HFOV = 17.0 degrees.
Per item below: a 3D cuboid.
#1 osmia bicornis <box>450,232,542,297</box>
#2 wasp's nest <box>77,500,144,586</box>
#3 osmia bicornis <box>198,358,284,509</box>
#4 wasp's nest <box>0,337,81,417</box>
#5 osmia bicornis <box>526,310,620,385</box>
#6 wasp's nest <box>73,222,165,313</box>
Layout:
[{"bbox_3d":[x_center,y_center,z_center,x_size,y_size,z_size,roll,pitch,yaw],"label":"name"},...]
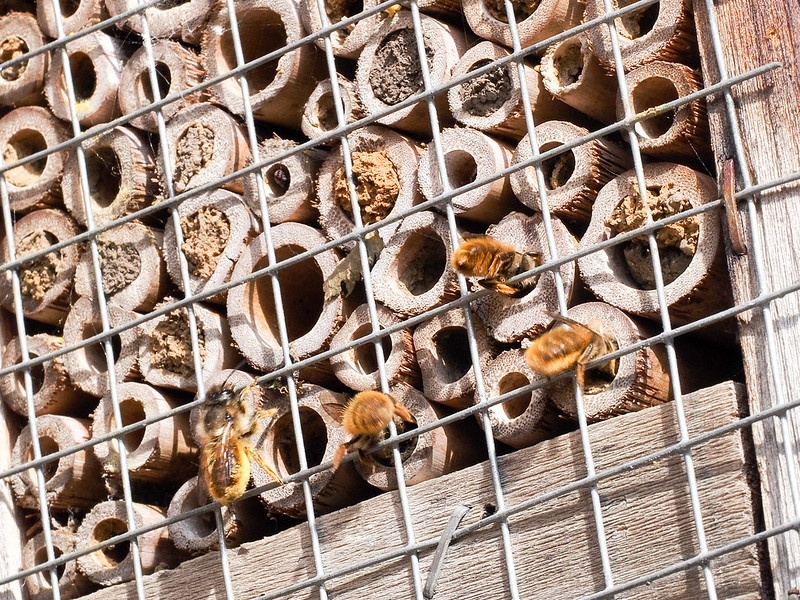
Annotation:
[{"bbox_3d":[0.329,-0.114,9.190,0.280,0.198,0.113,15,-30,-31],"label":"osmia bicornis"},{"bbox_3d":[-1.057,0.909,9.697,0.230,0.282,0.297,-2,-53,-12],"label":"wasp's nest"},{"bbox_3d":[-0.578,0.526,9.463,0.140,0.422,0.331,2,-10,-45],"label":"osmia bicornis"},{"bbox_3d":[-1.340,0.271,10.103,0.321,0.337,0.288,6,-89,20],"label":"wasp's nest"},{"bbox_3d":[0.585,0.158,9.012,0.282,0.267,0.084,-1,-29,-1],"label":"osmia bicornis"},{"bbox_3d":[-1.015,-0.116,9.867,0.359,0.312,0.092,0,-3,21],"label":"wasp's nest"}]
